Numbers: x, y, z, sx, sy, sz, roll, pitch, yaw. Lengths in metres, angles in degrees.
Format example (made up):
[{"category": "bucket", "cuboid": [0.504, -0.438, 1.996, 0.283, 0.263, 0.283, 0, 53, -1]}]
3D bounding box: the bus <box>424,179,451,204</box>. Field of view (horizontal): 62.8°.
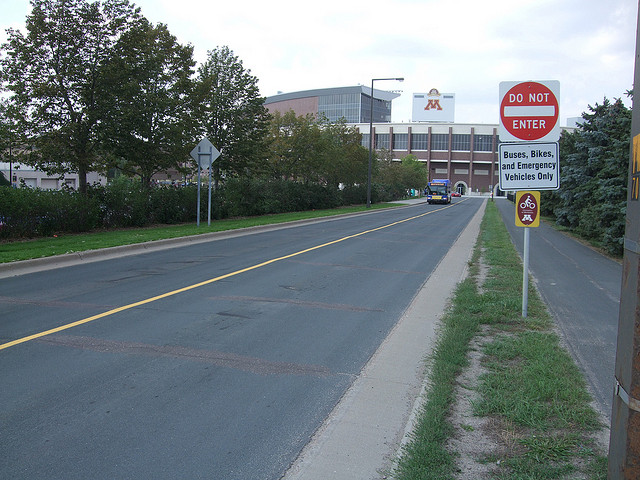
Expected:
[{"category": "bus", "cuboid": [17.378, -7.116, 77.149, 2.197, 3.154, 6.873, 0, 3, 15]}]
